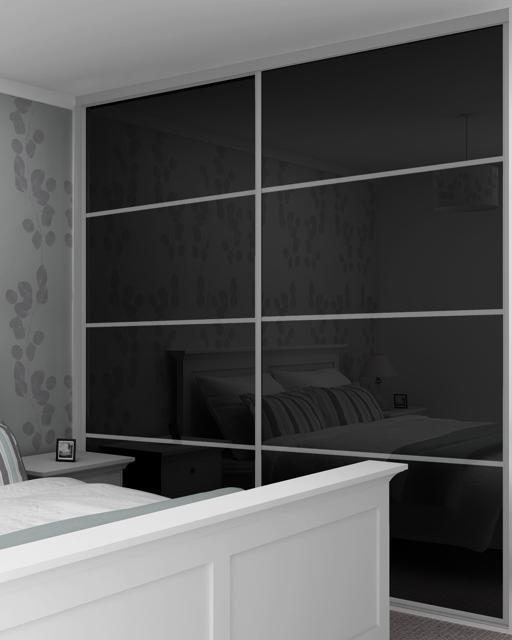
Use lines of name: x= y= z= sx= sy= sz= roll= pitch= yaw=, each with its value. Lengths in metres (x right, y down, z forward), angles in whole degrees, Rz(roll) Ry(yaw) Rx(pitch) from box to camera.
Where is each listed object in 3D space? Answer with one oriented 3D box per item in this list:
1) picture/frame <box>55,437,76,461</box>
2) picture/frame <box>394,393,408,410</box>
picture/frame: x=-1.070 y=0.733 z=3.184 sx=0.134 sy=0.171 sz=0.017 roll=-2 pitch=-16 yaw=5
picture/frame: x=0.660 y=0.375 z=2.600 sx=0.073 sy=0.087 sz=0.011 roll=-3 pitch=-7 yaw=43
